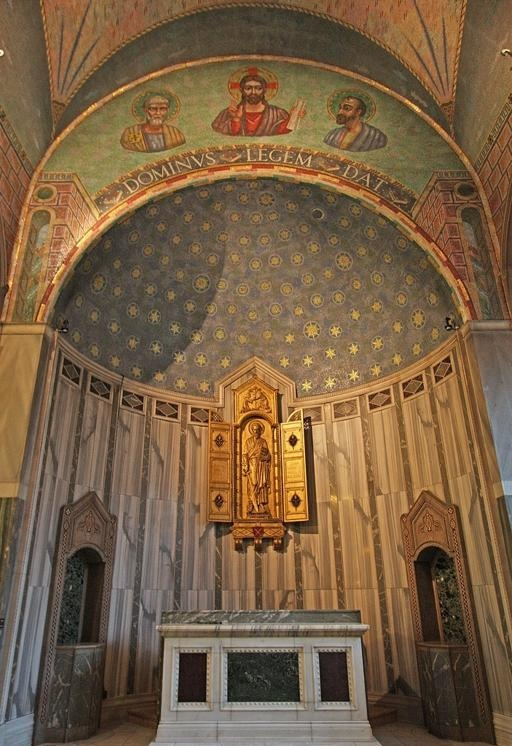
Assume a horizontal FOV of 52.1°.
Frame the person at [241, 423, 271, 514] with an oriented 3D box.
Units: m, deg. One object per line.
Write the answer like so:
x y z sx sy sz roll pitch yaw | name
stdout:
-0.002 1.447 7.981 0.441 1.404 0.153 -1 -26 -1 | person
